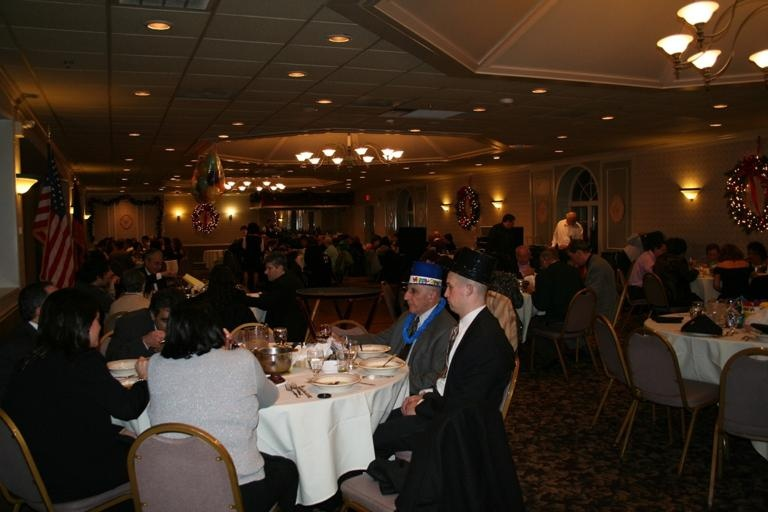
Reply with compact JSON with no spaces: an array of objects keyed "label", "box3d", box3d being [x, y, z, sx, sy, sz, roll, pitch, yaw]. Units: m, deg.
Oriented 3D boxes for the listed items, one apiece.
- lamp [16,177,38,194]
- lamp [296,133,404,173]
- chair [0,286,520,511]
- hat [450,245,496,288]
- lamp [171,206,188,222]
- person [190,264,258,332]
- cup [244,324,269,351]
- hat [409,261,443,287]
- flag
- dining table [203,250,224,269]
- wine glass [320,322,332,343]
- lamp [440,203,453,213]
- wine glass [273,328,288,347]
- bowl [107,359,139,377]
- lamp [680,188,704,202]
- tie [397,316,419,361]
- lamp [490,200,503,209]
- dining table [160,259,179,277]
[{"label":"lamp","box3d":[-4.916,-0.972,7.388,0.223,0.245,0.545,-6,10,-33]},{"label":"lamp","box3d":[-0.800,-2.387,12.717,1.958,0.684,1.758,-1,4,11]},{"label":"chair","box3d":[-1.315,0.821,3.484,1.581,1.039,1.144,1,3,-1]},{"label":"hat","box3d":[0.538,0.052,3.538,0.318,0.192,0.381,21,0,3]},{"label":"lamp","box3d":[-10.345,-2.115,27.278,0.817,0.537,0.748,-1,6,-3]},{"label":"person","box3d":[-1.777,0.450,6.228,0.536,0.742,0.428,-7,24,-3]},{"label":"cup","box3d":[-0.963,0.644,4.158,0.144,0.140,0.186,3,-7,-23]},{"label":"hat","box3d":[0.335,0.139,4.232,0.232,0.143,0.178,2,-4,-18]},{"label":"flag","box3d":[-4.760,-0.450,7.695,0.421,1.841,0.815,-5,10,-28]},{"label":"dining table","box3d":[-6.698,0.131,21.152,0.890,0.646,0.857,0,-1,-9]},{"label":"wine glass","box3d":[-0.472,0.628,4.379,0.102,0.139,0.101,2,-10,-5]},{"label":"lamp","box3d":[2.343,-1.761,19.783,0.294,0.210,0.296,-1,-5,27]},{"label":"wine glass","box3d":[-0.773,0.637,4.187,0.136,0.143,0.130,1,-8,-7]},{"label":"bowl","box3d":[-1.930,0.830,3.956,0.180,0.053,0.181,-3,1,0]},{"label":"lamp","box3d":[6.707,-1.337,11.727,0.282,0.216,0.296,-1,6,-6]},{"label":"tie","box3d":[0.198,0.684,4.436,0.084,0.343,0.197,18,15,21]},{"label":"lamp","box3d":[3.630,-1.624,17.082,0.265,0.191,0.250,1,-2,-28]},{"label":"dining table","box3d":[-4.992,0.289,12.559,0.230,0.423,0.450,-4,-1,3]}]
